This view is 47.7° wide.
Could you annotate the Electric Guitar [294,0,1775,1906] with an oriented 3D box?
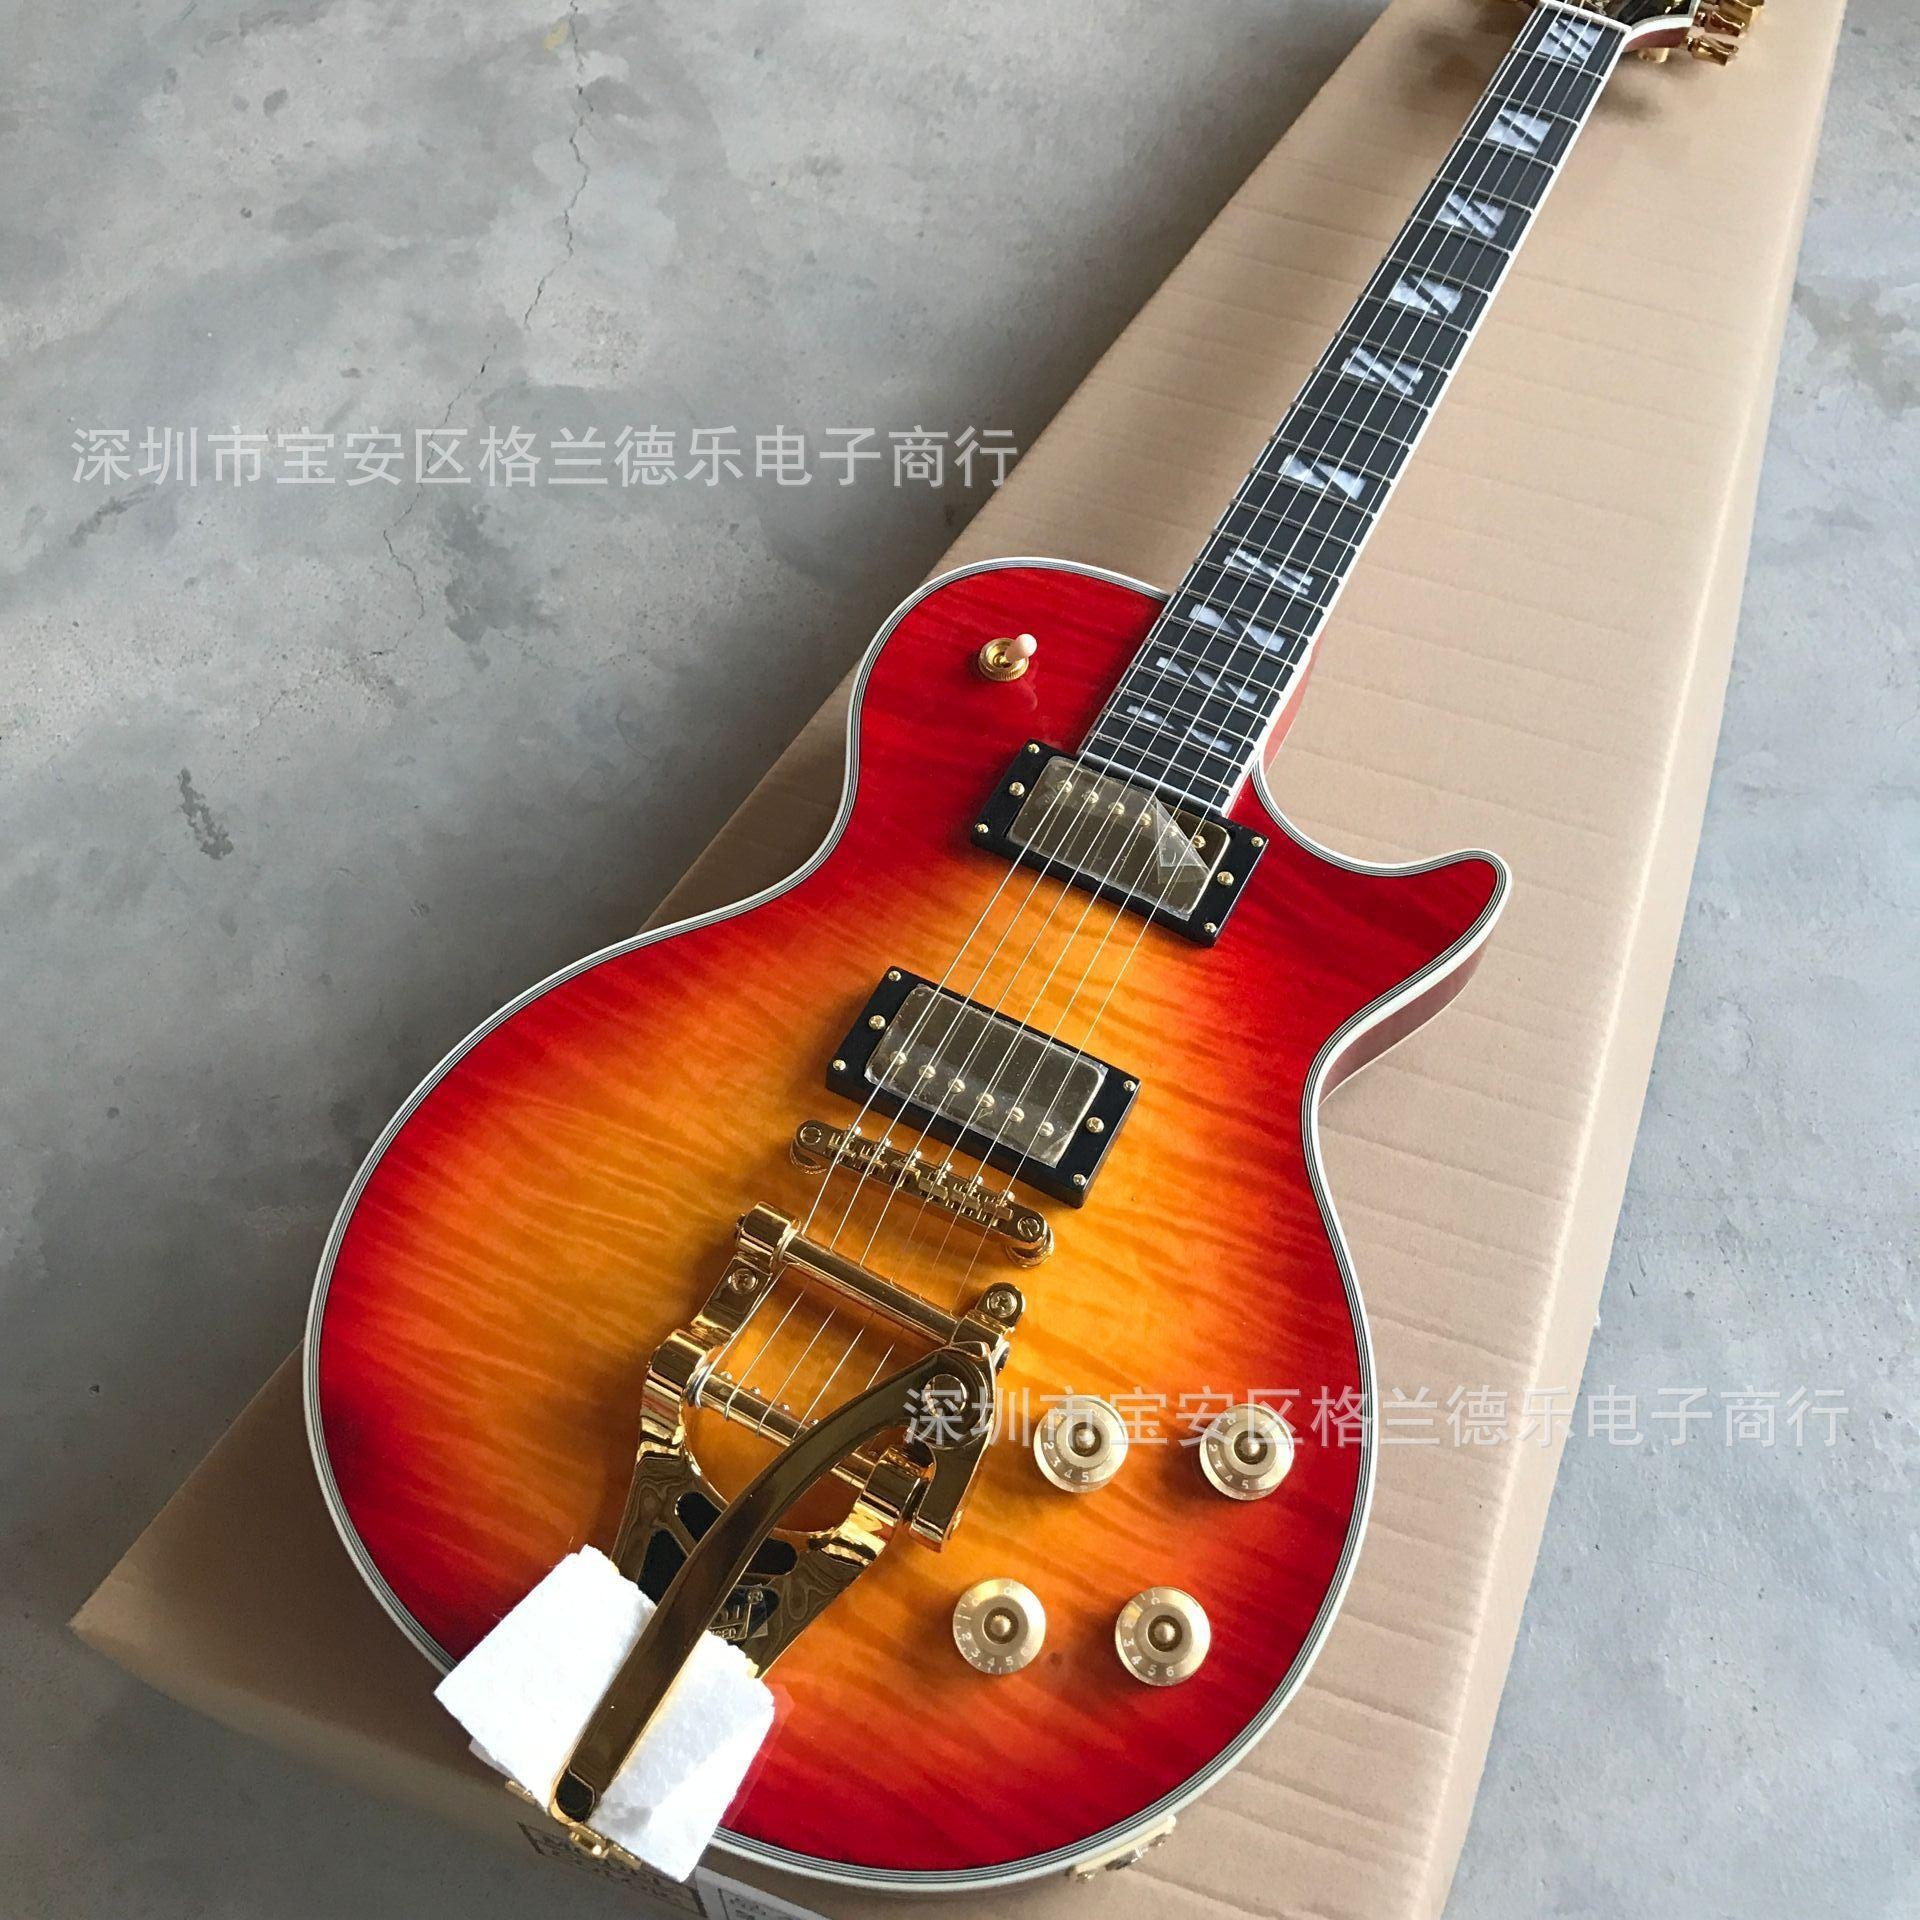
[{"bbox_3d":[0.092,-0.076,1.600,0.560,0.155,1.397,27,57,14],"label":"Electric Guitar"}]
